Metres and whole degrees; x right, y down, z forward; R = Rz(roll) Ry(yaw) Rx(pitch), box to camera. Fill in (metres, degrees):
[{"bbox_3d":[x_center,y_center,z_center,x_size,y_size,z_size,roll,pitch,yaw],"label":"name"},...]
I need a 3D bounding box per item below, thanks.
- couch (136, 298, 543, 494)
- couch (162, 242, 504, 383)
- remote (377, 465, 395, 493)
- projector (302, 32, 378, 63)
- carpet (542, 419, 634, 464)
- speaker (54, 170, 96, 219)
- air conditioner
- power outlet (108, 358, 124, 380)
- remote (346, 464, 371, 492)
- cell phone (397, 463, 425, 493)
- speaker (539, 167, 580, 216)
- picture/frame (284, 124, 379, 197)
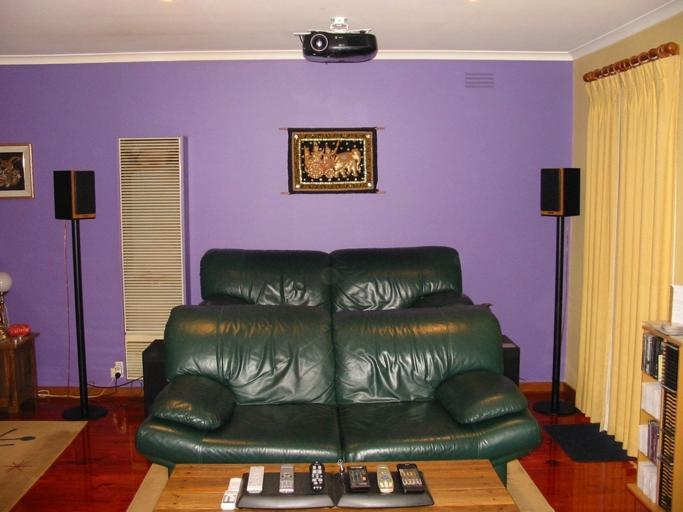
[{"bbox_3d":[-0.040,1.005,4.590,2.509,1.078,1.150,-1,14,-4],"label":"couch"},{"bbox_3d":[-0.053,0.500,5.381,2.365,0.970,1.119,-1,12,-1],"label":"couch"},{"bbox_3d":[0.241,1.236,3.639,0.088,0.089,0.202,-2,3,3],"label":"remote"},{"bbox_3d":[-0.019,-1.541,4.822,0.526,0.167,0.217,-2,4,-2],"label":"projector"},{"bbox_3d":[1.902,1.447,5.071,0.335,0.005,0.373,0,5,-3],"label":"carpet"},{"bbox_3d":[-2.222,-0.514,5.467,0.306,0.437,0.234,2,11,-14],"label":"speaker"},{"bbox_3d":[-1.738,0.039,5.990,0.589,2.258,0.154,-2,10,-21],"label":"air conditioner"},{"bbox_3d":[-2.079,1.072,6.118,0.152,0.146,0.036,-2,6,5],"label":"power outlet"},{"bbox_3d":[0.092,1.234,3.641,0.132,0.092,0.172,-2,3,-2],"label":"remote"},{"bbox_3d":[0.385,1.233,3.644,0.144,0.101,0.180,-2,3,-1],"label":"cell phone"},{"bbox_3d":[1.776,-0.537,5.476,0.220,0.423,0.293,1,9,-32],"label":"speaker"},{"bbox_3d":[-0.083,-0.873,6.024,0.811,0.599,0.053,-2,4,-3],"label":"picture/frame"}]
